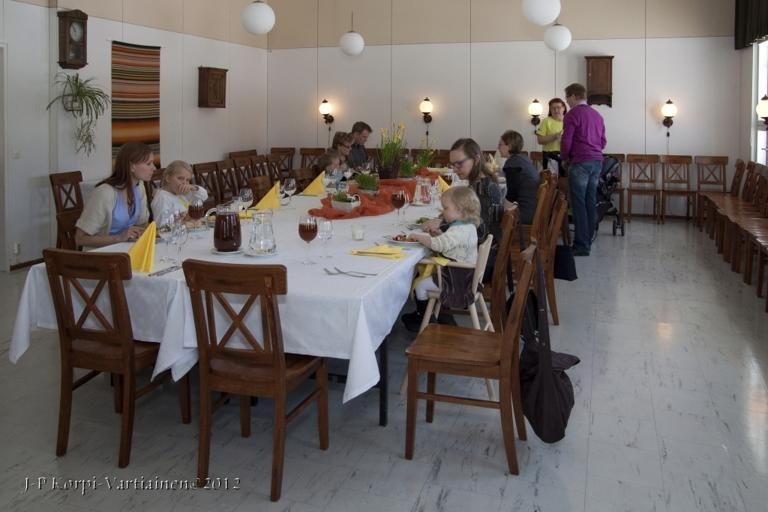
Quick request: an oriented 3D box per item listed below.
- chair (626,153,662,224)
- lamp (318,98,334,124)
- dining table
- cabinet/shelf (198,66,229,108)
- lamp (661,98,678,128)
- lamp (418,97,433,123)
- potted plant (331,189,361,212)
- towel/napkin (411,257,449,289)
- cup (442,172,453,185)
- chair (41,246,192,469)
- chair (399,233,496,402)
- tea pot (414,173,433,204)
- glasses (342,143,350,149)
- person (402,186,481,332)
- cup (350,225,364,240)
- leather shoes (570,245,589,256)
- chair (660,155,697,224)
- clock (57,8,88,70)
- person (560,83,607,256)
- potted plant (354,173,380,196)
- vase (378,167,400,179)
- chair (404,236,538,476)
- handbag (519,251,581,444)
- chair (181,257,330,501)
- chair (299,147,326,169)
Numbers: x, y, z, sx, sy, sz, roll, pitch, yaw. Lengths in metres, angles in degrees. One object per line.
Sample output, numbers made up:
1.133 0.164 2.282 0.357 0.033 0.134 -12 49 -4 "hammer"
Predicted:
4.565 -1.198 9.147 0.590 1.126 0.761 4 16 23 "chair"
-1.158 -2.851 10.387 0.306 0.505 0.265 -2 14 0 "lamp"
-0.846 0.325 3.225 1.297 0.426 1.703 5 12 17 "dining table"
-2.943 -2.855 8.844 0.218 0.783 0.758 2 7 13 "cabinet/shelf"
4.985 -2.463 9.069 0.244 0.490 0.230 6 16 29 "lamp"
0.813 -2.745 9.851 0.332 0.646 0.390 0 2 7 "lamp"
-0.344 -0.476 4.497 0.216 0.130 0.177 8 18 17 "potted plant"
0.303 0.081 3.474 0.193 0.302 0.221 7 9 9 "towel/napkin"
0.718 -0.876 5.861 0.088 0.085 0.162 -1 5 7 "cup"
-1.558 0.508 2.963 0.593 1.179 0.489 2 14 15 "chair"
0.490 0.297 3.961 0.885 1.432 0.897 3 6 9 "chair"
0.382 -0.651 5.149 0.270 0.340 0.286 0 3 0 "tea pot"
-0.501 -1.461 6.914 0.069 0.059 0.070 -6 19 7 "glasses"
0.402 0.028 3.650 0.526 1.040 0.480 5 6 14 "person"
-0.185 -0.157 3.562 0.082 0.098 0.088 0 2 0 "cup"
2.497 -0.067 6.604 0.260 0.128 0.114 4 1 -31 "leather shoes"
5.127 -1.192 9.093 0.537 1.095 0.983 7 17 31 "chair"
-3.913 -2.679 6.499 0.240 0.689 0.408 12 20 44 "clock"
2.674 -1.187 7.124 0.721 2.263 0.652 -3 5 -27 "person"
-0.143 -0.701 5.215 0.222 0.300 0.280 2 6 23 "potted plant"
0.048 -0.936 5.865 0.143 0.115 0.142 2 10 16 "vase"
0.484 0.542 2.979 0.706 1.173 0.603 3 15 17 "chair"
1.073 0.591 3.366 0.424 1.376 0.573 -3 22 15 "handbag"
-0.729 0.574 2.803 0.718 1.193 0.538 2 14 14 "chair"
-1.474 -2.000 10.550 0.685 0.377 0.244 10 18 37 "chair"
